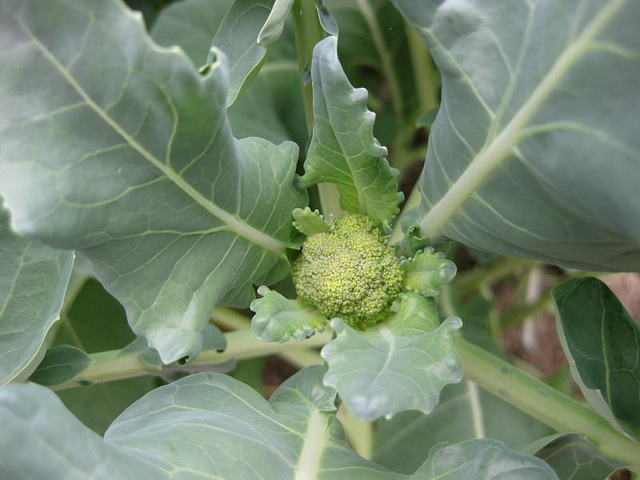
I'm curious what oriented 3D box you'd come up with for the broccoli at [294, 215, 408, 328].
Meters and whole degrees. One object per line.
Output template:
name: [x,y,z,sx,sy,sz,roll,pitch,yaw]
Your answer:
broccoli: [0.051,0.041,1.037,0.176,0.069,0.161,17,74,5]
